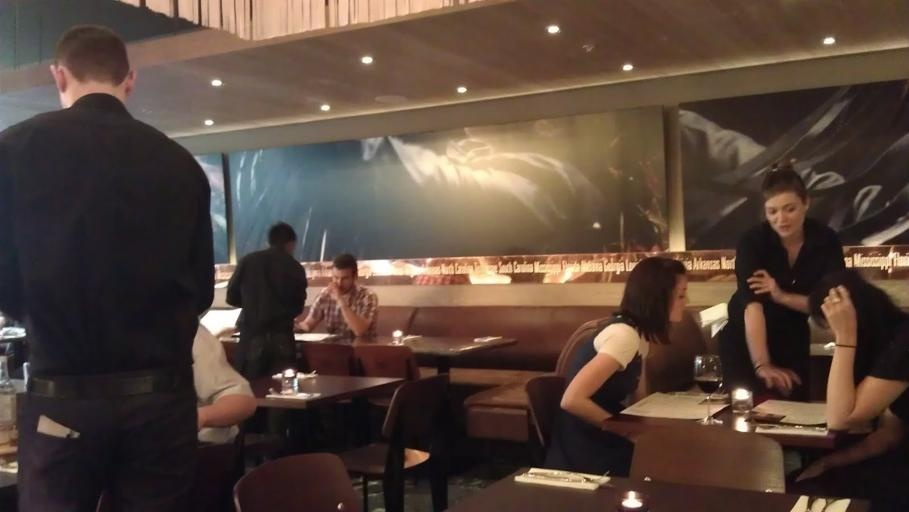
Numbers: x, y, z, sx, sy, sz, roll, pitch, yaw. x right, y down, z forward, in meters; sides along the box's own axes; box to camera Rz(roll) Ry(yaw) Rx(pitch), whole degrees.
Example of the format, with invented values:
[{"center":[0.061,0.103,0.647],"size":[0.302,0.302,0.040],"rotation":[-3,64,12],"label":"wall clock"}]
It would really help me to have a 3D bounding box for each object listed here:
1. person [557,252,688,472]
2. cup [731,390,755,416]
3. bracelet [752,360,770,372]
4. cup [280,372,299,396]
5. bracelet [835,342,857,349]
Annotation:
[{"center":[0.963,0.621,4.242],"size":[0.783,1.218,0.464],"rotation":[-3,4,-26],"label":"person"},{"center":[1.642,0.817,4.093],"size":[0.135,0.132,0.128],"rotation":[1,-5,0],"label":"cup"},{"center":[2.461,0.880,5.884],"size":[0.078,0.067,0.075],"rotation":[-3,5,-35],"label":"bracelet"},{"center":[-1.104,0.867,4.979],"size":[0.144,0.204,0.136],"rotation":[-1,-1,0],"label":"cup"},{"center":[1.962,0.442,3.649],"size":[0.089,0.029,0.027],"rotation":[-1,3,3],"label":"bracelet"}]
